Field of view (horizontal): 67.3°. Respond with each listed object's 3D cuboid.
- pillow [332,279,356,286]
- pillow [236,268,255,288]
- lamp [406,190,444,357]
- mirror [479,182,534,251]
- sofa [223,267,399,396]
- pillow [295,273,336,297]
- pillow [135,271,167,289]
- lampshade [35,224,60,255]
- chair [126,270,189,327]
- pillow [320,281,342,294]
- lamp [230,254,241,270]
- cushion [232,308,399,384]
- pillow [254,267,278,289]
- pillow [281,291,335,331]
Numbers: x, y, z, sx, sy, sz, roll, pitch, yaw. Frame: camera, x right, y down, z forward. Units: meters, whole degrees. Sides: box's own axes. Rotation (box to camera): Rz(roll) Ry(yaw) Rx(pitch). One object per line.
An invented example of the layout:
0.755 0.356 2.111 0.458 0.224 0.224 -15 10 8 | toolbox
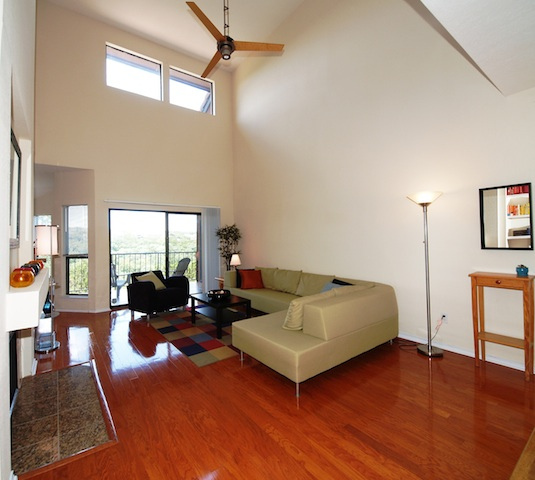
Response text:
1.035 0.591 5.516 0.287 0.099 0.058 12 -4 24 | pillow
-0.387 0.685 7.010 0.265 0.287 0.082 1 -2 22 | pillow
1.848 0.365 4.739 0.433 1.856 0.708 1 13 8 | lamp
2.516 -0.240 4.243 0.538 0.711 0.171 7 15 31 | mirror
0.580 1.201 4.356 1.066 0.525 1.547 0 2 -38 | sofa
0.681 0.666 6.072 0.111 0.406 0.372 22 -17 -38 | pillow
-1.882 0.698 6.548 0.456 0.258 0.360 -11 17 -35 | pillow
-2.815 -0.002 5.131 0.297 0.518 0.311 0 -4 -39 | lampshade
-1.778 0.851 6.564 0.694 1.009 0.947 -2 -2 31 | chair
0.850 0.645 5.472 0.176 0.063 0.180 -4 35 49 | pillow
-0.600 0.440 7.630 0.216 0.322 0.225 -5 -4 34 | lamp
0.507 1.059 4.549 1.501 0.412 0.987 -13 18 -38 | cushion
-0.022 0.675 6.980 0.294 0.235 0.103 -3 6 45 | pillow
0.422 0.748 4.363 0.129 0.430 0.396 20 16 38 | pillow
